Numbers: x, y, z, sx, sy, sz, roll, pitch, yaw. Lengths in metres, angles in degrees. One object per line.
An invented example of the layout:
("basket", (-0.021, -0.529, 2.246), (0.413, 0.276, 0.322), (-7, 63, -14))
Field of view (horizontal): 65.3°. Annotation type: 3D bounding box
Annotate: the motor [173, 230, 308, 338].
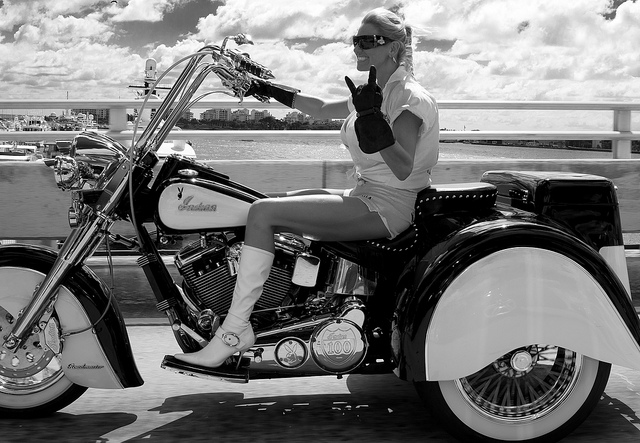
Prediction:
("motor", (-0.398, 0.272, 2.715), (0.735, 0.250, 0.563), (4, 99, 5))
